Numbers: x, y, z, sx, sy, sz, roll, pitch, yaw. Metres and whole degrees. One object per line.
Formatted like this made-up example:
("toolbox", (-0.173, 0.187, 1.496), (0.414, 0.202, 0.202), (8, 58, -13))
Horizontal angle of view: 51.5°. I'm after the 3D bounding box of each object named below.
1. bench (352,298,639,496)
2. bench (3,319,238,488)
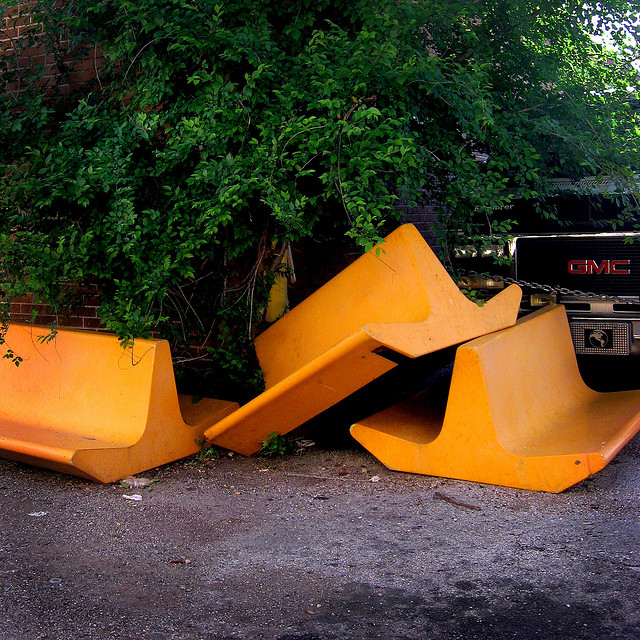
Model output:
("bench", (1.136, 0.681, 4.422), (1.453, 0.725, 1.568), (-7, 4, 33))
("bench", (-1.650, 0.537, 4.899), (1.512, 0.931, 1.324), (5, 10, 40))
